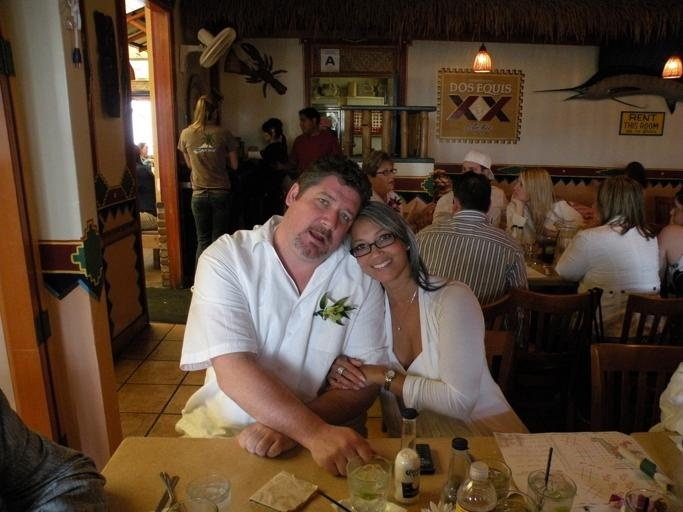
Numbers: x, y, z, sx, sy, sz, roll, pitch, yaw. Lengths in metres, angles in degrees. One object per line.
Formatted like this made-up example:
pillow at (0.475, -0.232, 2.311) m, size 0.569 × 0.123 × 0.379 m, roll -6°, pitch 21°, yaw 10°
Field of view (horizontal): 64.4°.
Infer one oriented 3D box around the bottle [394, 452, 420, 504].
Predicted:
bottle at (0.198, 0.645, 1.625) m, size 0.077 × 0.147 × 0.106 m, roll 1°, pitch 13°, yaw 6°

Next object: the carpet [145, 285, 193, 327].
carpet at (-1.643, 0.455, 5.160) m, size 0.443 × 0.004 × 0.509 m, roll 7°, pitch 34°, yaw -25°

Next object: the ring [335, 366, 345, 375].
ring at (-0.004, 0.465, 2.180) m, size 0.025 × 0.028 × 0.028 m, roll 2°, pitch -8°, yaw 9°

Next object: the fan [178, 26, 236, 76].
fan at (-1.380, -2.137, 5.539) m, size 0.463 × 0.590 × 0.530 m, roll 16°, pitch 25°, yaw -7°

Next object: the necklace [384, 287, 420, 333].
necklace at (0.265, 0.229, 2.247) m, size 0.126 × 0.194 × 0.053 m, roll -4°, pitch -2°, yaw 21°

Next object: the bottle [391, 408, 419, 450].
bottle at (0.207, 0.547, 1.652) m, size 0.053 × 0.144 × 0.055 m, roll 0°, pitch 4°, yaw 0°

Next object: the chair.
chair at (1.140, 0.499, 3.022) m, size 0.921 × 1.325 × 0.866 m, roll 1°, pitch 19°, yaw 13°

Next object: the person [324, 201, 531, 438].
person at (0.317, 0.339, 2.312) m, size 0.662 × 1.131 × 0.677 m, roll -9°, pitch 10°, yaw 33°

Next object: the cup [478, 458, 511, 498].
cup at (0.457, 0.640, 1.606) m, size 0.101 × 0.096 × 0.122 m, roll -1°, pitch 5°, yaw 0°

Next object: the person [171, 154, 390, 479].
person at (-0.201, 0.205, 2.217) m, size 0.780 × 1.238 × 0.770 m, roll 2°, pitch -8°, yaw 40°
